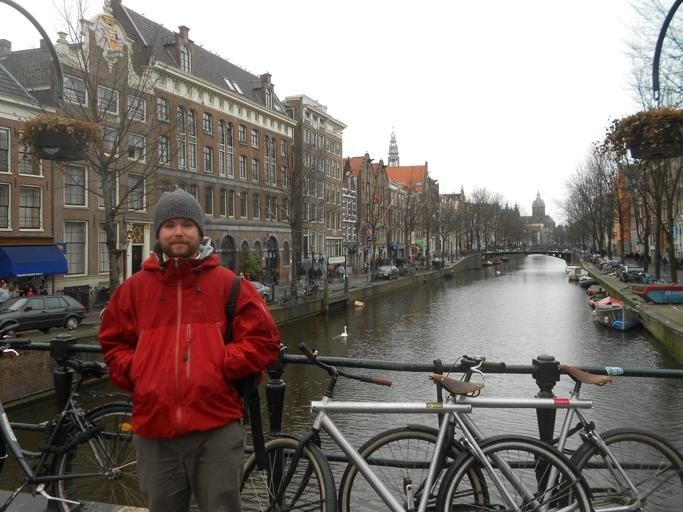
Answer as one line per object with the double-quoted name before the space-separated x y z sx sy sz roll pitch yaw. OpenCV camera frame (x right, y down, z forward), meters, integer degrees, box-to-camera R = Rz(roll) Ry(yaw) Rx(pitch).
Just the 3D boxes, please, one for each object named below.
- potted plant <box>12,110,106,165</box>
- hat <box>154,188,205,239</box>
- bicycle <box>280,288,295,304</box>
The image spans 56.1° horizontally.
"potted plant" -3.690 -1.596 8.354 0.769 0.650 1.257 1 1 -32
"hat" -1.166 -0.292 4.574 0.299 0.352 0.341 -1 -5 -17
"bicycle" -2.660 1.950 30.757 0.518 0.838 0.880 -1 -7 18
